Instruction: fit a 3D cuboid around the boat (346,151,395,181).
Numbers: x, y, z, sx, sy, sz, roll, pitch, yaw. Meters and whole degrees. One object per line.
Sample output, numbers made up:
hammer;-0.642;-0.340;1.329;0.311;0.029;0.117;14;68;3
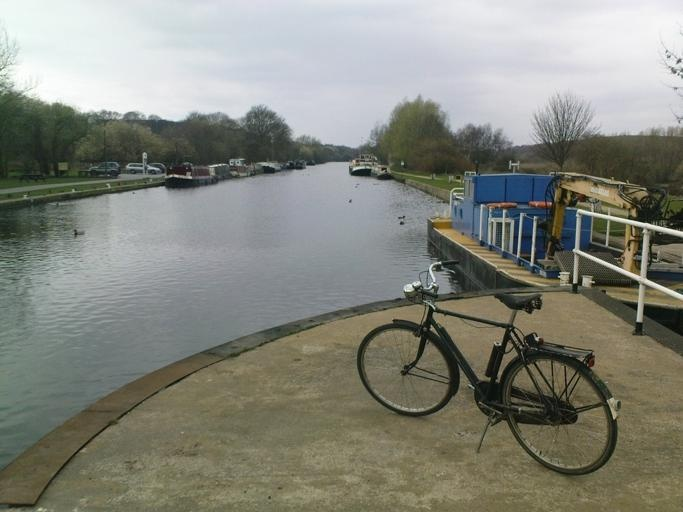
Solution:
boat;3.682;-13.634;99.692;3.994;3.379;13.910;-2;4;0

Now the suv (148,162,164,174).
suv;-23.698;-10.966;84.131;2.709;0.855;1.660;-1;14;6

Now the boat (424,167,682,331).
boat;4.820;-0.333;17.295;2.938;1.739;5.677;-1;12;-4

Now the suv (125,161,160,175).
suv;-23.828;-10.474;79.848;2.887;1.301;5.799;3;10;9

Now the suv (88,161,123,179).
suv;-24.249;-8.921;67.870;2.703;1.677;6.040;-2;11;-15
